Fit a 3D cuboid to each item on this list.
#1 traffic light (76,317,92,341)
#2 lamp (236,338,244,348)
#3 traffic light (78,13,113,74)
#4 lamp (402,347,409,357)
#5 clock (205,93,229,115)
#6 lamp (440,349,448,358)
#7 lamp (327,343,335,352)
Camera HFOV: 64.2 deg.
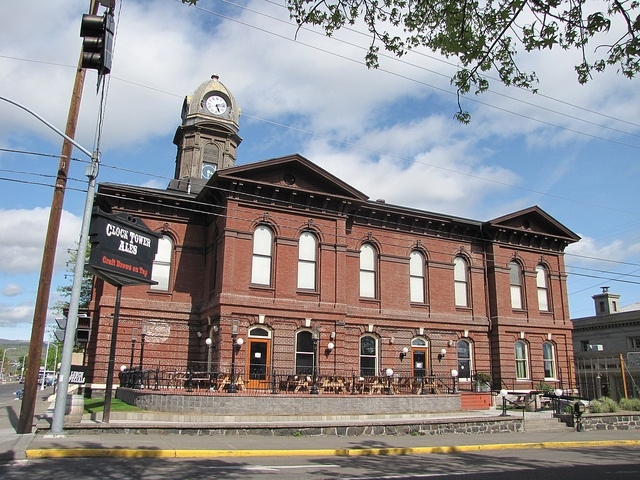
[{"bbox_3d":[-8.663,3.193,18.658,0.466,1.007,1.065,8,-21,-23],"label":"traffic light"},{"bbox_3d":[-3.927,4.944,24.695,0.442,0.497,0.400,-3,-10,7],"label":"lamp"},{"bbox_3d":[-6.508,-5.755,15.105,1.015,1.685,0.772,5,1,-8],"label":"traffic light"},{"bbox_3d":[4.898,6.384,29.359,0.296,0.519,0.479,-8,-21,18],"label":"lamp"},{"bbox_3d":[-7.479,-9.682,36.473,1.457,1.410,0.157,42,-28,-12],"label":"clock"},{"bbox_3d":[7.299,6.597,30.186,0.420,0.527,0.707,-6,-19,12],"label":"lamp"},{"bbox_3d":[0.567,5.442,26.388,0.381,0.408,0.305,4,-20,-13],"label":"lamp"}]
